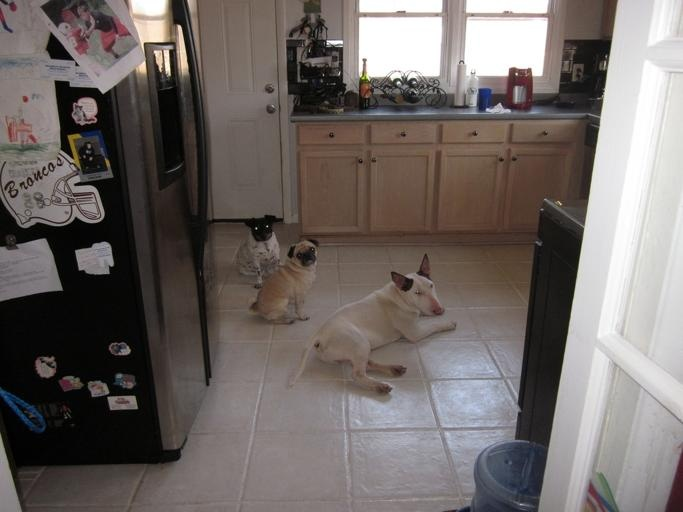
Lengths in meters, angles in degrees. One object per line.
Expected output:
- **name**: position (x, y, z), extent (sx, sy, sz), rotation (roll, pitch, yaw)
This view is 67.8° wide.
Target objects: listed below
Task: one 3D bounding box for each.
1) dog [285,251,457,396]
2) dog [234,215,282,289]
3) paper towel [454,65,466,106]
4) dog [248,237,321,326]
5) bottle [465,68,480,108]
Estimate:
- **dog**: position (0.203, 0.341, 2.759), extent (1.132, 0.484, 0.542), rotation (-20, 27, -36)
- **dog**: position (-0.592, -0.112, 3.731), extent (0.312, 0.539, 0.424), rotation (-18, 36, -28)
- **paper towel**: position (1.004, -1.460, 4.331), extent (0.092, 0.343, 0.191), rotation (3, 22, 10)
- **dog**: position (-0.347, 0.146, 3.154), extent (0.404, 0.510, 0.299), rotation (3, 19, -2)
- **bottle**: position (1.091, -1.410, 4.286), extent (0.103, 0.294, 0.218), rotation (3, 23, 12)
